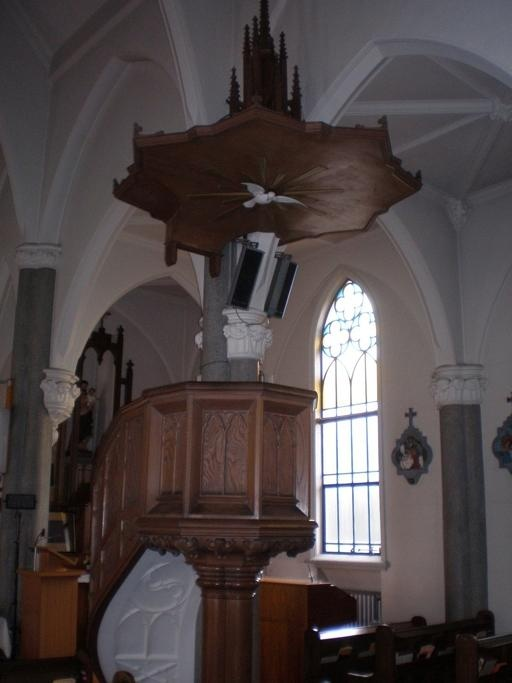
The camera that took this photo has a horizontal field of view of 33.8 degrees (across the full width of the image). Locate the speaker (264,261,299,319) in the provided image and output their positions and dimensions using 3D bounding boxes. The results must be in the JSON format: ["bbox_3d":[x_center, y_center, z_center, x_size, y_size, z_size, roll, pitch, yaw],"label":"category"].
[{"bbox_3d":[0.200,-0.481,7.454,0.174,0.543,0.468,1,5,43],"label":"speaker"}]
